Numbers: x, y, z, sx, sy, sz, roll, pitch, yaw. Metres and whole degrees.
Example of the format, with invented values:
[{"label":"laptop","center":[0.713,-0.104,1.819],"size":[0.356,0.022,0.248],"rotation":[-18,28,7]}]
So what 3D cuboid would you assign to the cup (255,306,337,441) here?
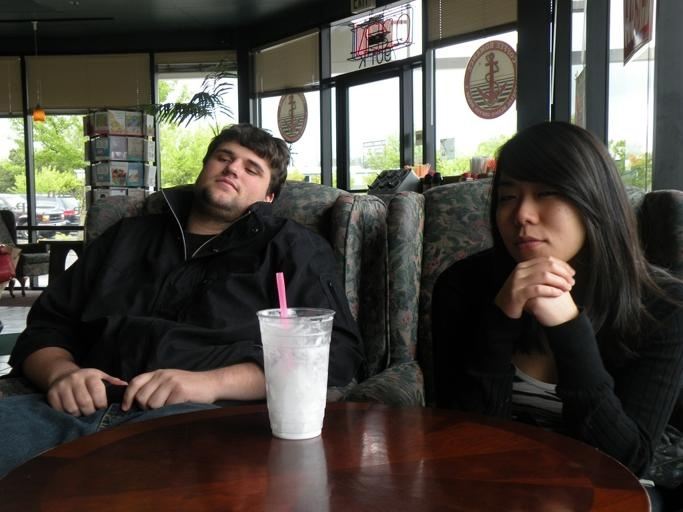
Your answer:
[{"label":"cup","center":[-0.081,0.221,1.047],"size":[0.168,0.224,0.163],"rotation":[-1,-6,0]}]
